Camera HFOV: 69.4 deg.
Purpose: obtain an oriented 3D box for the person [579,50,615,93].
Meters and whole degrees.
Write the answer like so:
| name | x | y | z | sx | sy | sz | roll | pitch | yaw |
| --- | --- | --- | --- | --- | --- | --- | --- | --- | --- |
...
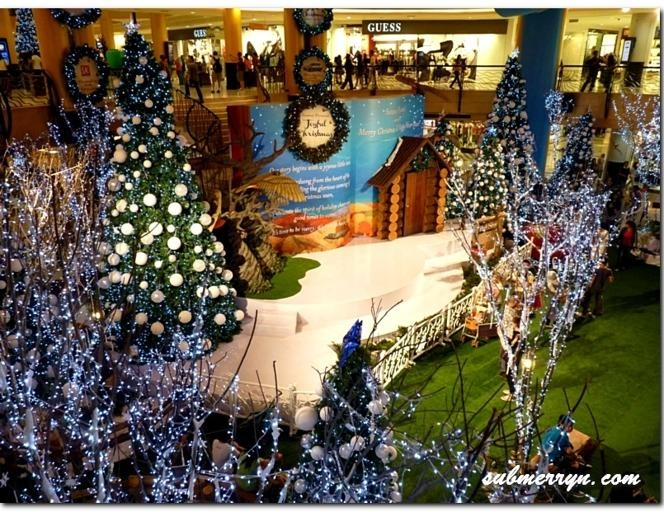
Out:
| name | x | y | z | sx | sy | sz | roll | pitch | yaw |
| --- | --- | --- | --- | --- | --- | --- | --- | --- | --- |
| person | 9.350 | -6.457 | 16.887 | 1.006 | 1.250 | 1.146 | 7 | 17 | 26 |

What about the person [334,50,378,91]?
| name | x | y | z | sx | sy | sz | roll | pitch | yaw |
| --- | --- | --- | --- | --- | --- | --- | --- | --- | --- |
| person | 0.954 | -6.727 | 17.439 | 1.390 | 1.274 | 0.909 | -6 | 16 | -17 |
